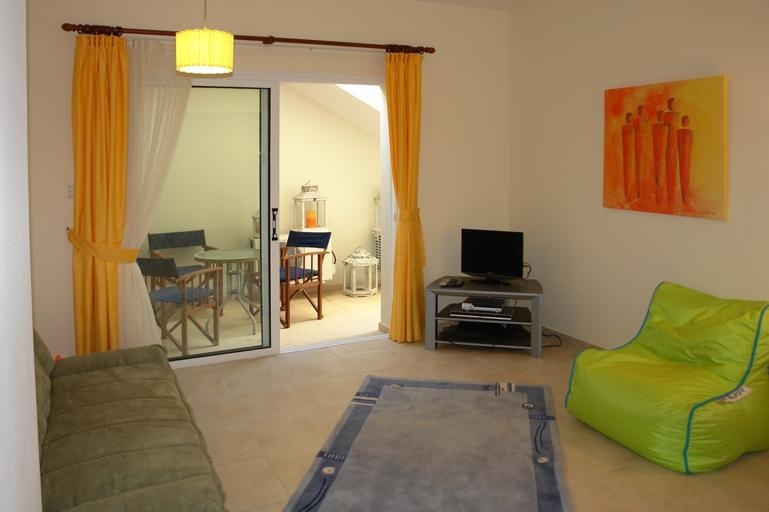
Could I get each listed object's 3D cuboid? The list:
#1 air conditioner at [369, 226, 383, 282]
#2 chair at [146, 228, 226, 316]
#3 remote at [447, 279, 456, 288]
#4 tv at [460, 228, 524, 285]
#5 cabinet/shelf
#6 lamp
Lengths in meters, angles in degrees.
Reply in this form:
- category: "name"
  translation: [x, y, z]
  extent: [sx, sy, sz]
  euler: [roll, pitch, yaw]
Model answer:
- category: "air conditioner"
  translation: [-0.120, -0.173, 7.613]
  extent: [0.097, 0.429, 0.366]
  euler: [-3, 13, -8]
- category: "chair"
  translation: [-1.695, 0.008, 4.844]
  extent: [0.452, 0.543, 0.378]
  euler: [-4, 6, -32]
- category: "remote"
  translation: [0.623, 0.251, 5.282]
  extent: [0.062, 0.016, 0.067]
  euler: [5, 20, 21]
- category: "tv"
  translation: [1.006, 0.010, 5.319]
  extent: [0.535, 0.426, 0.137]
  euler: [2, 3, 28]
- category: "cabinet/shelf"
  translation: [0.890, 0.525, 5.286]
  extent: [1.065, 0.591, 0.685]
  euler: [1, 13, 10]
- category: "lamp"
  translation: [-1.178, -1.374, 3.670]
  extent: [0.326, 0.448, 0.772]
  euler: [-5, 13, -18]
